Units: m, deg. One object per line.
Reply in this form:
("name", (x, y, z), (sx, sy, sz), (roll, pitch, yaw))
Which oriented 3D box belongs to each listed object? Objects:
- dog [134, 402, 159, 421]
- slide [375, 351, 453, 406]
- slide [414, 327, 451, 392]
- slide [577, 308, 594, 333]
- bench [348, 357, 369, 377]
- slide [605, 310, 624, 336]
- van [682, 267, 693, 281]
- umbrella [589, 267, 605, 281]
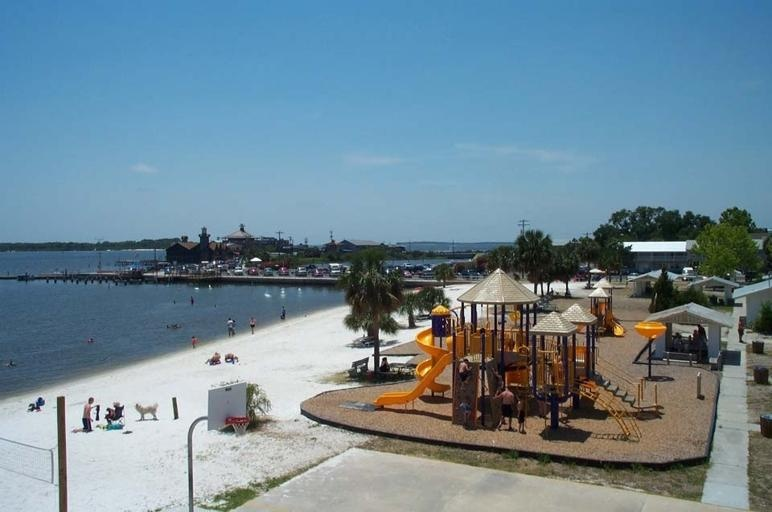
("dog", (-13.761, 8.762, 39.420), (1.108, 0.877, 1.828), (-6, 9, -18))
("slide", (1.373, 6.828, 38.198), (4.634, 3.006, 1.814), (-4, 4, 7))
("slide", (2.724, 5.932, 39.516), (2.192, 3.787, 2.528), (3, -5, -7))
("slide", (11.369, 3.655, 38.923), (1.233, 1.292, 1.266), (-1, -1, 22))
("bench", (-1.747, 7.421, 45.618), (0.373, 1.002, 1.473), (25, -23, -28))
("slide", (17.653, 5.228, 53.252), (1.380, 1.622, 1.354), (3, 11, 37))
("van", (41.636, 2.475, 95.161), (1.532, 2.150, 2.260), (0, -5, 17))
("umbrella", (28.935, 2.511, 94.700), (1.956, 0.873, 2.011), (-2, 3, 15))
